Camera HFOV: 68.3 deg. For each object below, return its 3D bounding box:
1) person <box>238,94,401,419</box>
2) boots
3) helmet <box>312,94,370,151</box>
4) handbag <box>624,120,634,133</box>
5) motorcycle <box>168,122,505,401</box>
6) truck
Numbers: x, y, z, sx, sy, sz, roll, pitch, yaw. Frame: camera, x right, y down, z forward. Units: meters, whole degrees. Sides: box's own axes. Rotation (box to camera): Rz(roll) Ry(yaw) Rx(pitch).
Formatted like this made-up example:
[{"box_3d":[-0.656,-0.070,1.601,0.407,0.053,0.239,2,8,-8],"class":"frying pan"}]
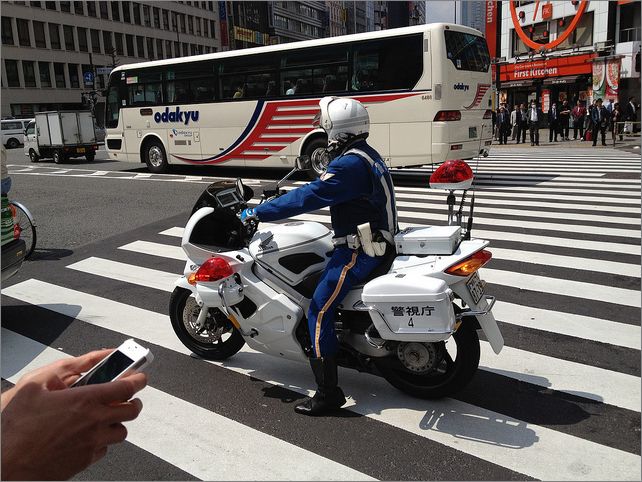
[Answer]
[{"box_3d":[0.130,0.085,3.866,1.056,2.390,0.673,-11,18,-34],"class":"person"},{"box_3d":[0.016,1.106,3.850,0.524,0.583,0.276,-1,13,0],"class":"boots"},{"box_3d":[0.141,-1.010,3.882,0.435,0.422,0.347,15,28,25],"class":"helmet"},{"box_3d":[18.741,-6.922,28.803,0.475,0.718,2.053,9,19,32],"class":"handbag"},{"box_3d":[0.076,0.313,4.571,3.057,2.097,1.487,12,16,27],"class":"motorcycle"},{"box_3d":[-13.384,-5.593,24.581,3.952,2.495,2.201,17,25,35],"class":"truck"}]
